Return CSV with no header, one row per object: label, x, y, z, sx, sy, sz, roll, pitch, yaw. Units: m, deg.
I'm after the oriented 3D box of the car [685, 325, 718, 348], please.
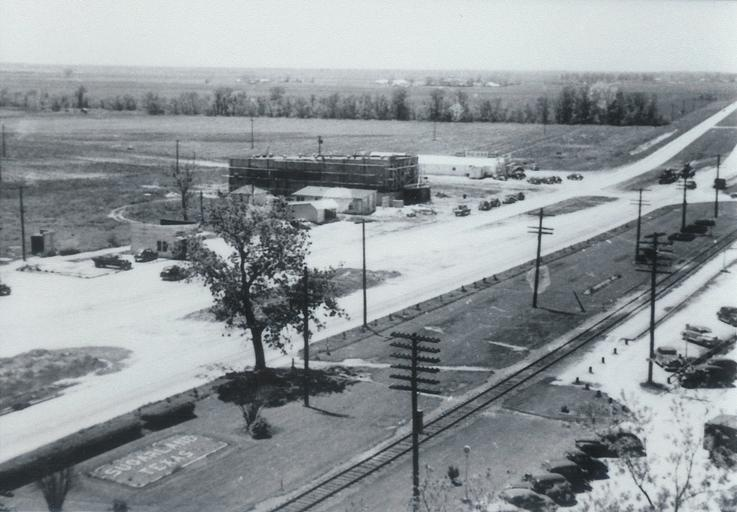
car,19.992,4.981,66.183,2.197,0.831,1.890,5,14,36
